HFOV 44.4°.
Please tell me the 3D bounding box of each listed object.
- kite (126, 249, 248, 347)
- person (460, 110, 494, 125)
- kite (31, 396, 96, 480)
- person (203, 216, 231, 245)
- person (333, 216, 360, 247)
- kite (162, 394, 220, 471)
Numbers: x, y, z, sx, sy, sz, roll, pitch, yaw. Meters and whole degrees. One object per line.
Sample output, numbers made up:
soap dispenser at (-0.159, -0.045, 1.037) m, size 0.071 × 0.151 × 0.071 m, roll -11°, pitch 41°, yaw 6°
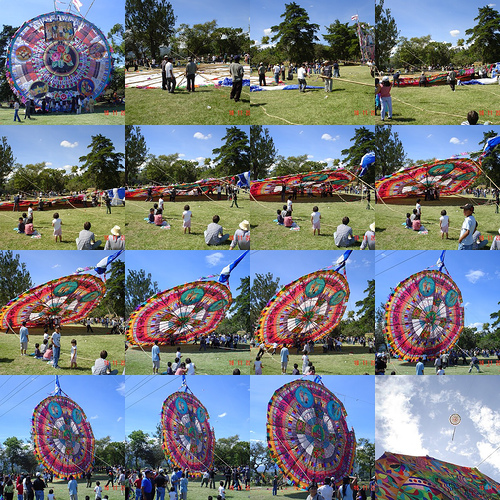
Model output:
kite at (-2.716, 2.171, 26.007) m, size 0.942 × 5.630 × 3.990 m, roll 46°, pitch 15°, yaw 30°
person at (10.854, -6.356, 29.728) m, size 1.100 × 0.420 × 1.068 m, roll -1°, pitch 1°, yaw 9°
kite at (-7.813, 7.907, 25.692) m, size 2.389 × 3.271 × 1.635 m, roll -6°, pitch 16°, yaw -19°
person at (-1.542, -1.015, 27.905) m, size 1.083 × 1.487 × 2.215 m, roll 2°, pitch 15°, yaw 8°
person at (4.311, -0.880, 27.608) m, size 0.829 × 1.446 × 1.477 m, roll 6°, pitch 16°, yaw 21°
kite at (-2.413, 7.340, 24.344) m, size 1.975 × 2.819 × 1.449 m, roll -3°, pitch 16°, yaw -8°
